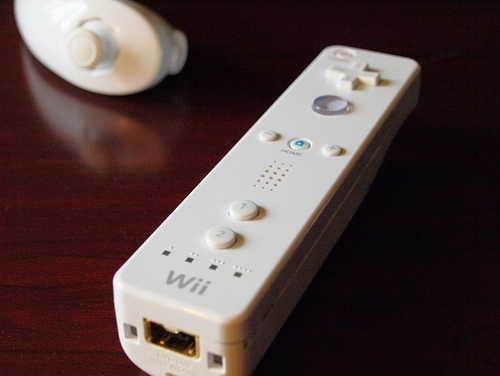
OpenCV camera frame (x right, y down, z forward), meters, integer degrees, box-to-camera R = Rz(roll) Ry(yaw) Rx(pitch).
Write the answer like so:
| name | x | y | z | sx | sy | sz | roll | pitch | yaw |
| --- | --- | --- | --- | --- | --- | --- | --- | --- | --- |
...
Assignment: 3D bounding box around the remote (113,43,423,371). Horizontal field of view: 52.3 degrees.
| name | x | y | z | sx | sy | sz | roll | pitch | yaw |
| --- | --- | --- | --- | --- | --- | --- | --- | --- | --- |
| remote | 0.071 | -0.015 | 0.415 | 0.114 | 0.103 | 0.347 | 27 | 57 | 18 |
